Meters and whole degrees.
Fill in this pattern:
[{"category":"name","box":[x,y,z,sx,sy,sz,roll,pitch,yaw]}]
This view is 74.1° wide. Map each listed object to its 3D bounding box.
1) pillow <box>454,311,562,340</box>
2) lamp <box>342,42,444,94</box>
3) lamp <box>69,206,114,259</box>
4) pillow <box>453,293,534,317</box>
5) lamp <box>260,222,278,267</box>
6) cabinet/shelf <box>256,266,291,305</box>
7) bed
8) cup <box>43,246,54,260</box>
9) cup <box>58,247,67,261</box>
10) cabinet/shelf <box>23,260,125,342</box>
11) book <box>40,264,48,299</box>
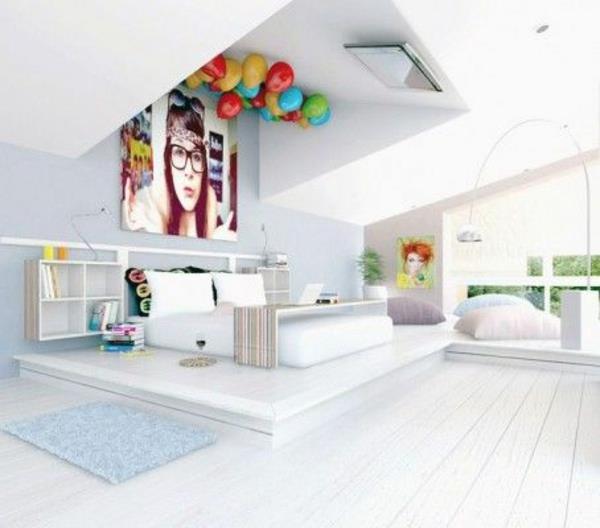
[{"category":"pillow","box":[2.381,0.649,4.410,0.587,0.199,0.487,2,-6,-26]},{"category":"lamp","box":[0.976,-2.026,4.038,0.696,0.291,0.955,1,-1,41]},{"category":"lamp","box":[-2.066,-0.305,3.931,0.339,0.559,0.168,-5,-20,-30]},{"category":"pillow","box":[3.155,0.611,6.627,0.763,0.283,0.823,2,-6,-36]},{"category":"lamp","box":[-0.492,-0.316,5.997,0.218,0.662,0.313,1,-1,-9]},{"category":"cabinet/shelf","box":[-0.376,0.239,5.854,0.439,0.485,0.152,4,32,0]},{"category":"bed","box":[-0.530,0.467,3.473,1.293,0.555,1.225,-3,-4,37]},{"category":"cup","box":[-2.200,-0.110,3.461,0.111,0.138,0.112,-1,-1,0]},{"category":"cup","box":[-2.132,-0.107,3.565,0.098,0.122,0.102,0,1,0]},{"category":"cabinet/shelf","box":[-2.083,0.297,3.669,0.266,0.698,0.747,-3,-3,27]},{"category":"book","box":[-2.148,0.138,3.333,0.058,0.278,0.062,2,-1,-29]}]
